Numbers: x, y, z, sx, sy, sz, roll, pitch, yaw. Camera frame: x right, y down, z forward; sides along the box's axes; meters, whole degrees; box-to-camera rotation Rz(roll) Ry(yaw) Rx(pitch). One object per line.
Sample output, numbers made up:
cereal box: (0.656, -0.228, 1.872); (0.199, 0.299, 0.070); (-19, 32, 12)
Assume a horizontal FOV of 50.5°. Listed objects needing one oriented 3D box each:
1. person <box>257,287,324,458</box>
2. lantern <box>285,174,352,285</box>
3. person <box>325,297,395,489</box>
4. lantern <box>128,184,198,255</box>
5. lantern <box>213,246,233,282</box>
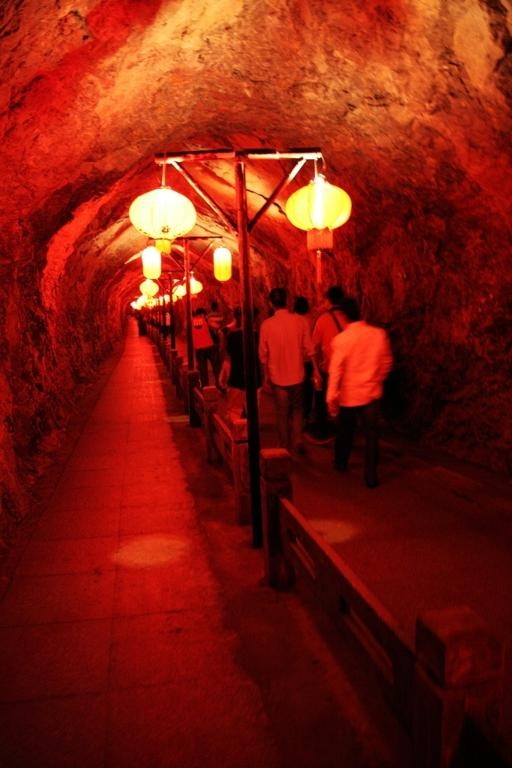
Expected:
person: (0.334, -0.114, 6.607); (0.624, 2.044, 0.536); (-1, 5, 0)
lantern: (0.631, -1.691, 5.733); (0.662, 1.268, 0.500); (0, 5, 6)
person: (1.008, 0.093, 5.540); (0.628, 1.921, 0.757); (0, 5, 6)
lantern: (-0.975, -1.696, 5.578); (0.525, 0.624, 0.566); (-7, 23, -20)
lantern: (-0.785, -2.739, 12.307); (0.356, 0.708, 0.894); (-2, 5, -7)
